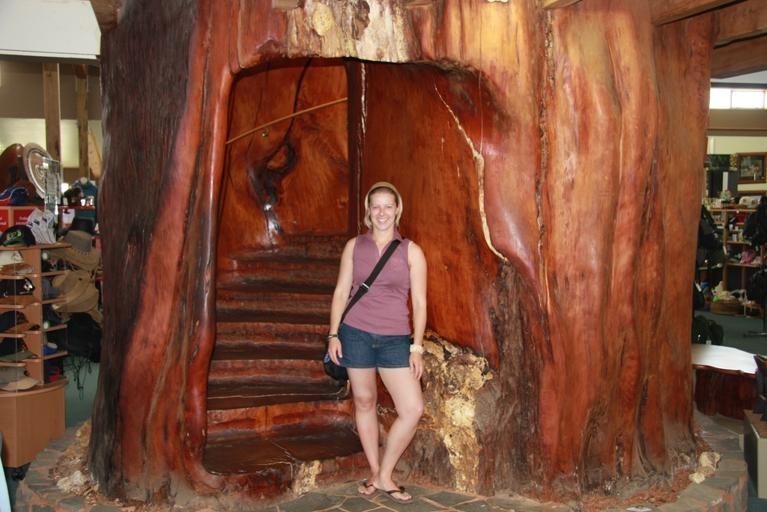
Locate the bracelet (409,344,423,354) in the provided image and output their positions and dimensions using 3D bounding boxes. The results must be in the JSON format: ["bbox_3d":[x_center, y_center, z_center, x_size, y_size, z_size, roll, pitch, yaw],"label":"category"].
[{"bbox_3d":[0.251,0.710,4.997,0.085,0.063,0.031,3,9,-1],"label":"bracelet"}]

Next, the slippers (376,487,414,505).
[{"bbox_3d":[0.093,1.919,5.229,0.206,0.058,0.110,2,5,29],"label":"slippers"}]
